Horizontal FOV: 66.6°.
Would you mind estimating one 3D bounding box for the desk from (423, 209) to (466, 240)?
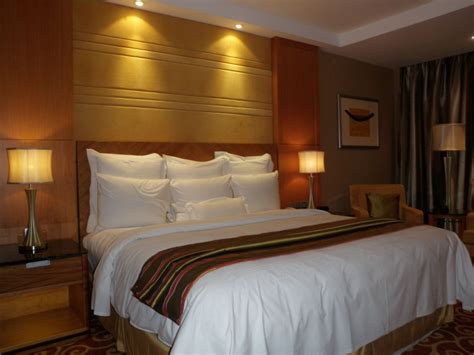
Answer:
[{"bbox_3d":[3.183,0.651,5.469,0.463,0.575,0.501,1,7,8],"label":"desk"}]

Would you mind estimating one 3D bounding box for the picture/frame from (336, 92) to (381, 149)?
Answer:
[{"bbox_3d":[2.021,-0.960,6.105,0.919,0.822,0.039,-1,0,-37],"label":"picture/frame"}]

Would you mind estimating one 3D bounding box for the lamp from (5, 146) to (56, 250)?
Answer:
[{"bbox_3d":[-1.876,0.178,3.294,0.374,0.894,0.298,5,9,25],"label":"lamp"}]
